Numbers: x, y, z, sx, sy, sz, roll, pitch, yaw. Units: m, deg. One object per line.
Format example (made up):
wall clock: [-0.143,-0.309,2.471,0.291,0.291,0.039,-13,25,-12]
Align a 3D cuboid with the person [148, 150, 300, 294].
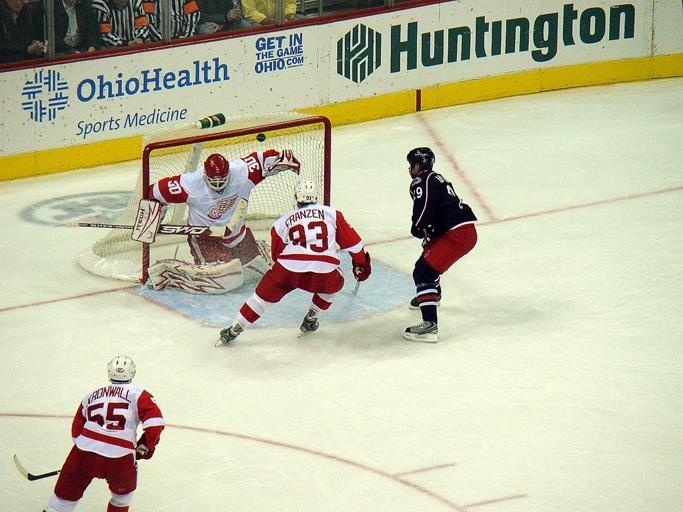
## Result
person: [-1.023,-0.253,7.558,1.188,0.799,0.638,-25,48,-23]

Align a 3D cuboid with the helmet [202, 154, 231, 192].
helmet: [-0.978,-0.653,7.371,0.245,0.271,0.236,-10,-21,-4]

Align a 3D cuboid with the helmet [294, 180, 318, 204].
helmet: [-0.273,-0.446,6.578,0.156,0.158,0.183,1,17,-5]

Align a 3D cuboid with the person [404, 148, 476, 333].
person: [0.695,-0.087,6.721,0.555,1.353,0.605,-3,16,8]

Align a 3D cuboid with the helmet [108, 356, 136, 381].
helmet: [-1.179,0.605,4.904,0.138,0.108,0.142,4,17,-8]

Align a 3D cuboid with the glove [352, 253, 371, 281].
glove: [0.147,0.099,6.819,0.085,0.181,0.157,3,24,-22]

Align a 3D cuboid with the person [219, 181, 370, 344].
person: [-0.390,0.102,7.114,1.396,1.298,0.845,3,25,-11]

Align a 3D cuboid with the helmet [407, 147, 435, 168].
helmet: [0.570,-0.722,6.866,0.204,0.169,0.168,16,24,22]
